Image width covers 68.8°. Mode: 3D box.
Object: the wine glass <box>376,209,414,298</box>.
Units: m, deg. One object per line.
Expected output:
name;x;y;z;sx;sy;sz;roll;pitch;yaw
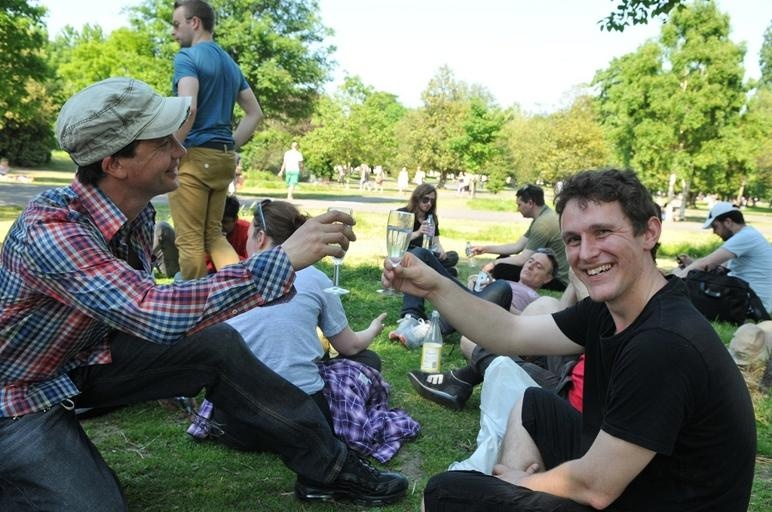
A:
wine glass;0.077;-0.097;3.322;0.151;0.329;0.242;6;4;-1

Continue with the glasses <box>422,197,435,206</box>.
glasses;0.686;-0.865;8.826;0.251;0.129;0.070;2;6;-42

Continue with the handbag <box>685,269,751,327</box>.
handbag;3.873;0.512;6.563;0.638;0.523;0.345;12;16;41

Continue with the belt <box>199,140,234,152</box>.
belt;-1.732;-1.140;5.818;0.088;0.105;0.389;9;5;39

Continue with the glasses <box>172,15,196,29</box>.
glasses;-2.059;-2.410;5.790;0.215;0.122;0.169;-4;12;-42

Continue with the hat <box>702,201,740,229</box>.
hat;5.196;-0.619;8.809;0.577;0.293;0.390;-25;2;27

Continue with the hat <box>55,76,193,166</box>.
hat;-1.411;-0.797;3.116;0.765;0.317;0.561;-24;31;-9
